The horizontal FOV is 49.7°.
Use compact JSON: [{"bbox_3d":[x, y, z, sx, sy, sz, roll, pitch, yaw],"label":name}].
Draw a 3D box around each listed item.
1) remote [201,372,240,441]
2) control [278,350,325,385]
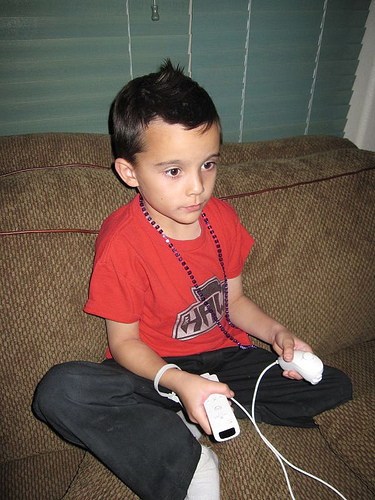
[{"bbox_3d":[0.053,0.265,0.646,0.047,0.034,0.069,-4,28,-12],"label":"remote"},{"bbox_3d":[0.219,0.222,0.788,0.086,0.056,0.040,25,36,37],"label":"control"}]
